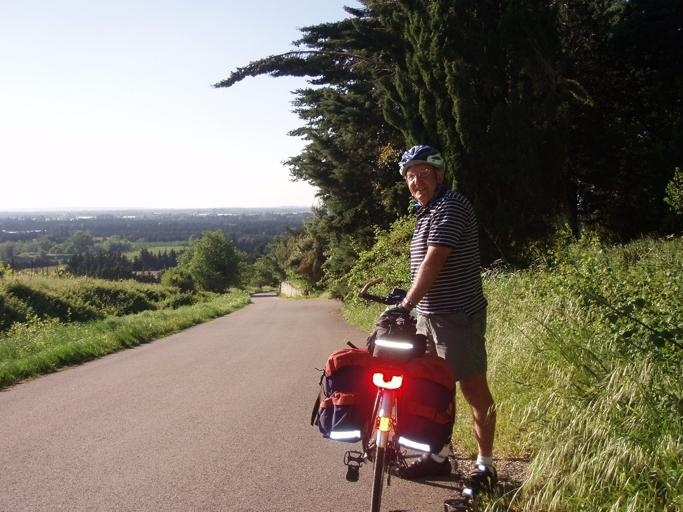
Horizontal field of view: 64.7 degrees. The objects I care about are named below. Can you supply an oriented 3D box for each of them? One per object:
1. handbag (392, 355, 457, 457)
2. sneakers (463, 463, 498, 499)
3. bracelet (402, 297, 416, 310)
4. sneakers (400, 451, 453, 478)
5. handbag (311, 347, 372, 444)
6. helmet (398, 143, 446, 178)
[{"bbox_3d":[0.730,1.277,4.610,0.540,0.799,0.179,-9,6,-23],"label":"handbag"},{"bbox_3d":[1.246,2.035,4.891,0.157,0.240,0.488,-6,-14,35],"label":"sneakers"},{"bbox_3d":[0.574,0.410,4.661,0.084,0.103,0.097,10,19,20],"label":"bracelet"},{"bbox_3d":[0.836,2.077,5.410,0.558,0.303,0.211,4,-6,-4],"label":"sneakers"},{"bbox_3d":[0.041,1.184,5.206,0.529,1.201,1.079,8,-16,-2],"label":"handbag"},{"bbox_3d":[0.812,-0.942,5.164,0.263,0.234,0.403,5,19,29],"label":"helmet"}]
